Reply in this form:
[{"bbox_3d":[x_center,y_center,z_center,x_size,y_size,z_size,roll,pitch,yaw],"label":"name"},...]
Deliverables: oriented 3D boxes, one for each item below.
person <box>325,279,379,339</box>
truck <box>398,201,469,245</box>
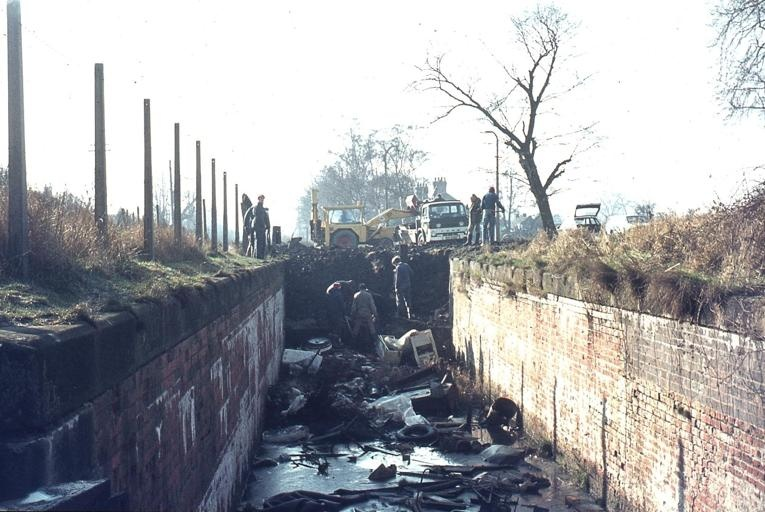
[{"bbox_3d":[-0.814,1.177,20.022,0.947,1.307,2.902,-1,10,-9],"label":"person"},{"bbox_3d":[1.896,-1.149,28.125,0.981,1.328,2.906,-1,-1,-13],"label":"truck"}]
